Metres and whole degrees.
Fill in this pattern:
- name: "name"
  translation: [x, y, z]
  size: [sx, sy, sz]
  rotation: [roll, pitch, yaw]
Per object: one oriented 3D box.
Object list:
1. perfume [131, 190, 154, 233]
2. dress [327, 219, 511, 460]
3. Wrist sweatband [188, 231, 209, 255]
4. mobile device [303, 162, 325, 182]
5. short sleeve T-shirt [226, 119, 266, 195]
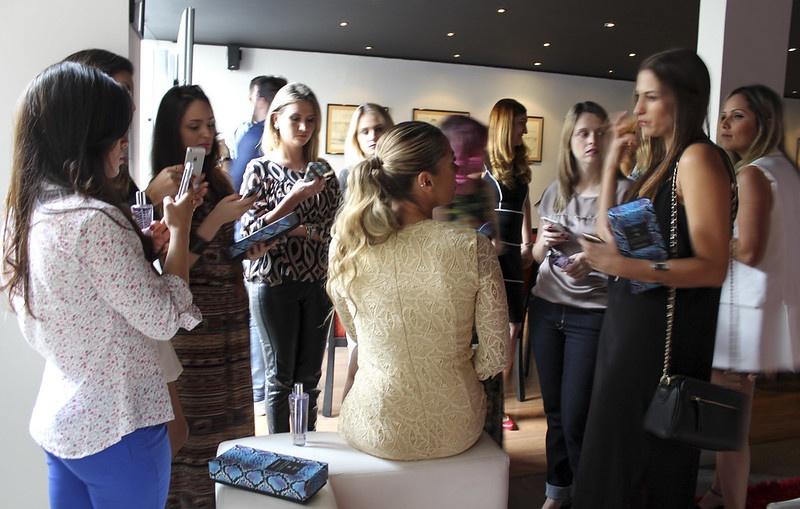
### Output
- name: "perfume"
  translation: [-1.127, -0.174, 2.591]
  size: [0.096, 0.200, 0.078]
  rotation: [-3, 12, -22]
- name: "dress"
  translation: [0.041, 0.355, 2.562]
  size: [0.802, 0.946, 0.621]
  rotation: [-4, 0, 0]
- name: "Wrist sweatband"
  translation: [-0.896, -0.041, 2.655]
  size: [0.084, 0.063, 0.085]
  rotation: [4, 1, 0]
- name: "mobile device"
  translation: [-0.468, -0.457, 3.294]
  size: [0.132, 0.133, 0.040]
  rotation: [2, -20, -13]
- name: "short sleeve T-shirt"
  translation: [-0.992, -0.728, 3.966]
  size: [0.216, 0.649, 0.181]
  rotation: [7, -34, -35]
